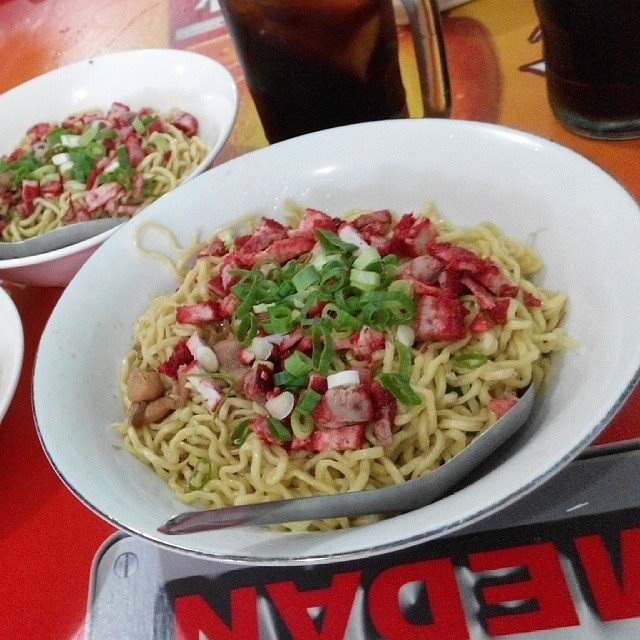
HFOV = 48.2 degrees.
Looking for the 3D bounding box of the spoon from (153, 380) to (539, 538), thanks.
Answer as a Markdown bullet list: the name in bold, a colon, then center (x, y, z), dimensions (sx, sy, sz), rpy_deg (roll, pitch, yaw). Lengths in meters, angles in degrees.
- **spoon**: center (0.115, 0.282, 1.275), dimensions (0.705, 0.224, 0.129), rpy_deg (-23, 66, -3)
